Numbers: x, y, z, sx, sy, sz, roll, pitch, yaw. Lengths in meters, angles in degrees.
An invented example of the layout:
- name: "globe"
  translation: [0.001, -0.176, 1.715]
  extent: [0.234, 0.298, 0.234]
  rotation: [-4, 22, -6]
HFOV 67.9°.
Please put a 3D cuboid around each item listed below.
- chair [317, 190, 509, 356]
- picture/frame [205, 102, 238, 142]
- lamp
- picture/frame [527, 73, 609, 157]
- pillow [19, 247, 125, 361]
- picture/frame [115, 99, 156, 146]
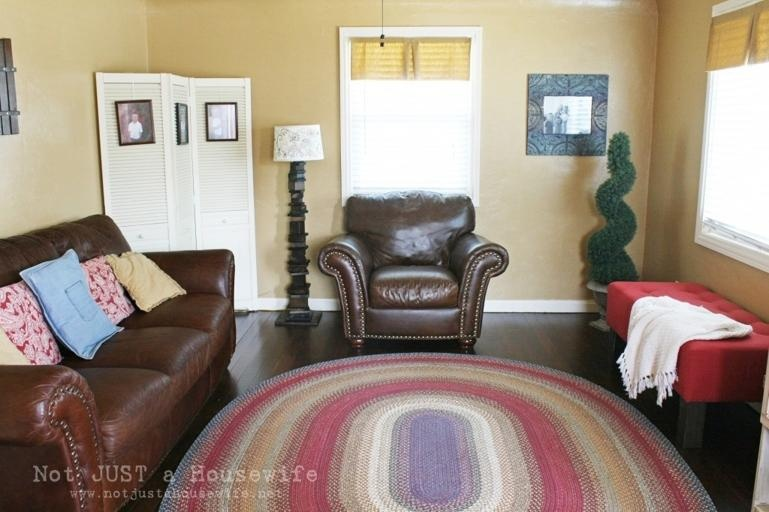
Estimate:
- name: "chair"
  translation: [0.220, 0.092, 4.958]
  extent: [1.475, 1.191, 0.990]
  rotation: [1, 15, 2]
- name: "picture/frame"
  translation: [-1.502, -1.239, 5.215]
  extent: [0.378, 0.421, 0.030]
  rotation: [-1, 3, -12]
- name: "lamp"
  translation: [-0.783, -0.299, 5.223]
  extent: [0.448, 1.778, 0.637]
  rotation: [-2, 15, -6]
- name: "picture/frame"
  translation: [1.676, -1.351, 5.284]
  extent: [0.860, 0.800, 0.037]
  rotation: [0, 6, -1]
- name: "pillow"
  translation: [-1.864, 0.301, 3.418]
  extent: [0.155, 0.549, 0.575]
  rotation: [-27, 3, 13]
- name: "picture/frame"
  translation: [-2.080, -1.120, 4.741]
  extent: [0.368, 0.434, 0.046]
  rotation: [-6, 7, -19]
